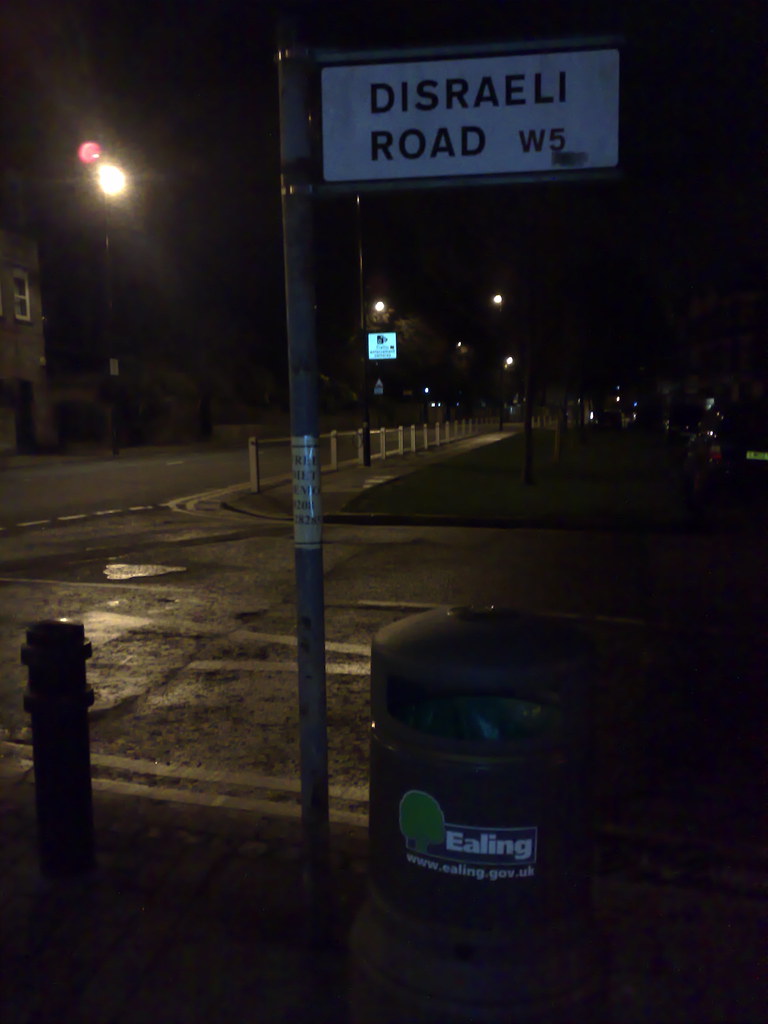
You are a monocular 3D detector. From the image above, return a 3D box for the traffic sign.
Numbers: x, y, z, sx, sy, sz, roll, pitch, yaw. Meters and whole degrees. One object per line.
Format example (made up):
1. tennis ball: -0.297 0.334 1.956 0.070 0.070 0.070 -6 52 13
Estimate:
1. traffic sign: 0.245 -1.163 2.854 0.873 0.374 0.060 -2 3 3
